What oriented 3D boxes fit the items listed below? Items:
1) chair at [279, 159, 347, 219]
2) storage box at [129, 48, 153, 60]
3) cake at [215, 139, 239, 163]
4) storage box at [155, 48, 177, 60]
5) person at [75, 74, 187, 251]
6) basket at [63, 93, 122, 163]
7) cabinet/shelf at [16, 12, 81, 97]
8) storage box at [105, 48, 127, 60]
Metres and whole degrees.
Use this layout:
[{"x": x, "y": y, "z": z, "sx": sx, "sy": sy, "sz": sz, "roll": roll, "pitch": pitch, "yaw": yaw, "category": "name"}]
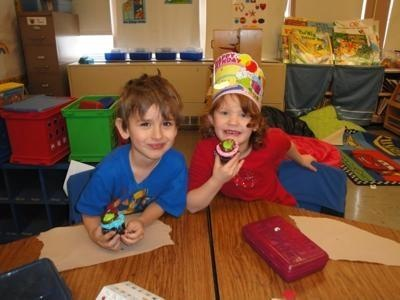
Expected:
[{"x": 0.590, "y": 0.158, "z": 1.540, "sx": 0.244, "sy": 0.340, "sz": 0.291, "roll": 3, "pitch": 63, "yaw": 36, "category": "chair"}, {"x": -0.745, "y": -1.185, "z": 3.597, "sx": 0.243, "sy": 0.135, "sz": 0.123, "roll": -6, "pitch": 25, "yaw": -13, "category": "storage box"}, {"x": 0.107, "y": 0.003, "z": 1.117, "sx": 0.079, "sy": 0.083, "sz": 0.087, "roll": -1, "pitch": -17, "yaw": 9, "category": "cake"}, {"x": -0.429, "y": -1.199, "z": 3.630, "sx": 0.254, "sy": 0.132, "sz": 0.163, "roll": -1, "pitch": 24, "yaw": -2, "category": "storage box"}, {"x": -0.255, "y": 0.087, "z": 1.178, "sx": 0.451, "sy": 0.712, "sz": 0.394, "roll": -7, "pitch": 22, "yaw": -41, "category": "person"}, {"x": -0.788, "y": -0.137, "z": 2.125, "sx": 0.294, "sy": 0.354, "sz": 0.489, "roll": -3, "pitch": 13, "yaw": -13, "category": "basket"}, {"x": -1.802, "y": -1.142, "z": 3.603, "sx": 0.468, "sy": 1.019, "sz": 0.601, "roll": 9, "pitch": 26, "yaw": 9, "category": "cabinet/shelf"}, {"x": -1.041, "y": -1.169, "z": 3.582, "sx": 0.178, "sy": 0.088, "sz": 0.147, "roll": 0, "pitch": 22, "yaw": -4, "category": "storage box"}]
